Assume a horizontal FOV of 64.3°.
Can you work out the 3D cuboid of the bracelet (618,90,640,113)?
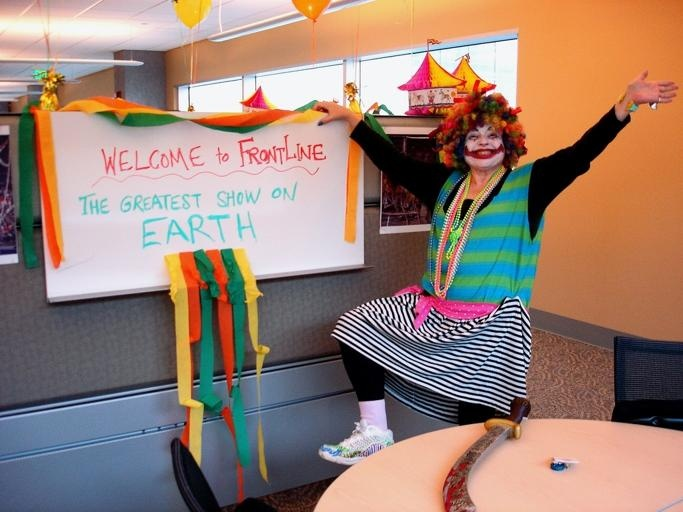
[{"bbox_3d":[1.061,-0.566,2.015,0.024,0.082,0.074,0,-19,-42],"label":"bracelet"}]

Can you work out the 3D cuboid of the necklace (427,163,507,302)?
[{"bbox_3d":[0.549,-0.115,2.330,0.214,0.665,0.035,14,-13,44],"label":"necklace"}]

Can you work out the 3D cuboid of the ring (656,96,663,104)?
[{"bbox_3d":[1.171,-0.576,2.014,0.029,0.040,0.015,5,-40,18],"label":"ring"}]

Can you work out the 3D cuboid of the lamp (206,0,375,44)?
[{"bbox_3d":[-0.637,-3.157,7.291,1.960,0.106,0.275,-1,-17,35],"label":"lamp"}]
